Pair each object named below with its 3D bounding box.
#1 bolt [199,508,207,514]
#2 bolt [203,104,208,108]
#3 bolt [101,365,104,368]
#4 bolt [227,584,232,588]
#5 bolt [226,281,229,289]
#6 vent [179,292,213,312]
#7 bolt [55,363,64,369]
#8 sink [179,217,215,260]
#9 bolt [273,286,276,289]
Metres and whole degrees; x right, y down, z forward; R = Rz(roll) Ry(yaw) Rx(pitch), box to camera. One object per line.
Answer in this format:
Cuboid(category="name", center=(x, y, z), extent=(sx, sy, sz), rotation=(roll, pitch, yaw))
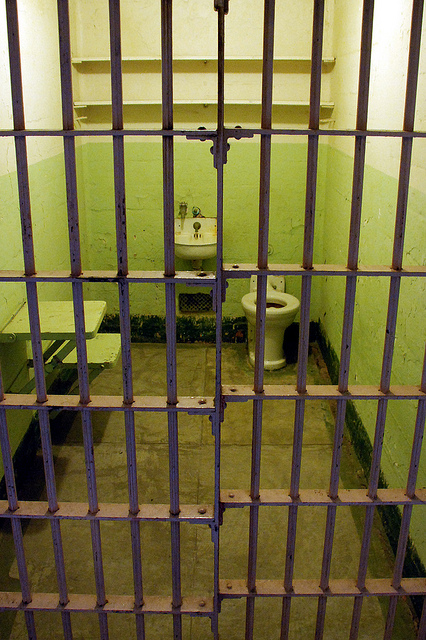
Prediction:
Cuboid(category="bolt", center=(-0.033, 0.604, 1.614), extent=(0.022, 0.021, 0.003), rotation=(-4, -56, 3))
Cuboid(category="bolt", center=(-0.069, -1.884, 4.466), extent=(0.029, 0.031, 0.008), rotation=(2, -85, -12))
Cuboid(category="bolt", center=(-0.659, 0.271, 3.018), extent=(0.017, 0.004, 0.019), rotation=(-25, -70, -13))
Cuboid(category="bolt", center=(0.054, 0.896, 1.718), extent=(0.016, 0.015, 0.008), rotation=(15, -58, -9))
Cuboid(category="bolt", center=(0.038, -0.097, 1.413), extent=(0.014, 0.015, 0.015), rotation=(-2, -81, 8))
Cuboid(category="vent", center=(-0.181, -0.177, 5.015), extent=(0.330, 0.081, 0.233), rotation=(1, -85, 3))
Cuboid(category="bolt", center=(-0.891, 0.261, 2.934), extent=(0.028, 0.007, 0.032), rotation=(13, -76, 17))
Cuboid(category="sink", center=(-0.155, -0.719, 4.759), extent=(0.389, 0.457, 0.465), rotation=(-2, -67, -3))
Cuboid(category="bolt", center=(0.601, -0.323, 4.952), extent=(0.023, 0.006, 0.027), rotation=(-9, -86, 5))
